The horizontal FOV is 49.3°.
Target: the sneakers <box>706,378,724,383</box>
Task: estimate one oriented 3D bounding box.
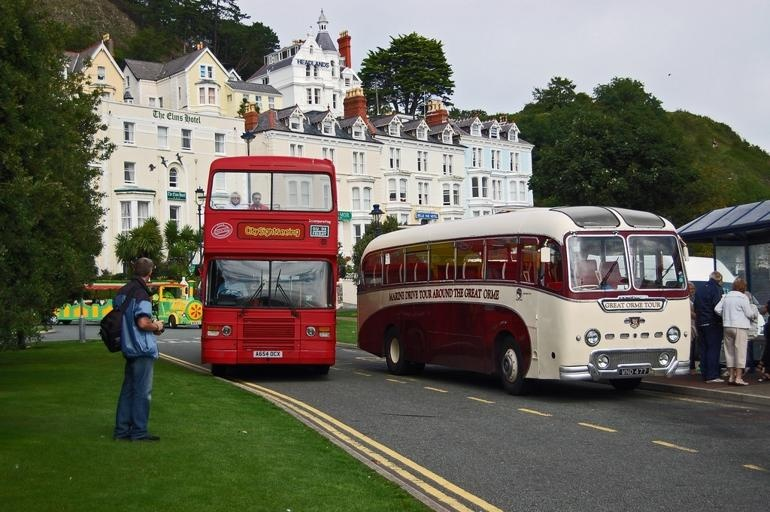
[{"bbox_3d":[8.473,3.193,21.511,0.454,0.180,0.172,0,0,-23],"label":"sneakers"}]

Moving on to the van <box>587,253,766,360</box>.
[{"bbox_3d":[11.133,1.705,32.994,7.497,4.082,2.543,-7,4,-22],"label":"van"}]

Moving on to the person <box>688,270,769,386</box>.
[{"bbox_3d":[8.561,1.802,21.315,0.651,2.843,1.462,4,-5,-29],"label":"person"}]

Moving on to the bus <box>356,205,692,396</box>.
[{"bbox_3d":[3.195,1.372,24.371,4.022,4.668,11.417,5,-6,-32],"label":"bus"}]

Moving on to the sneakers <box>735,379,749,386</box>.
[{"bbox_3d":[8.889,3.134,20.888,0.457,0.150,0.279,7,-7,-41],"label":"sneakers"}]

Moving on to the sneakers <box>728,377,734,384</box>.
[{"bbox_3d":[8.643,3.121,21.015,0.128,0.166,0.372,0,-8,9],"label":"sneakers"}]
